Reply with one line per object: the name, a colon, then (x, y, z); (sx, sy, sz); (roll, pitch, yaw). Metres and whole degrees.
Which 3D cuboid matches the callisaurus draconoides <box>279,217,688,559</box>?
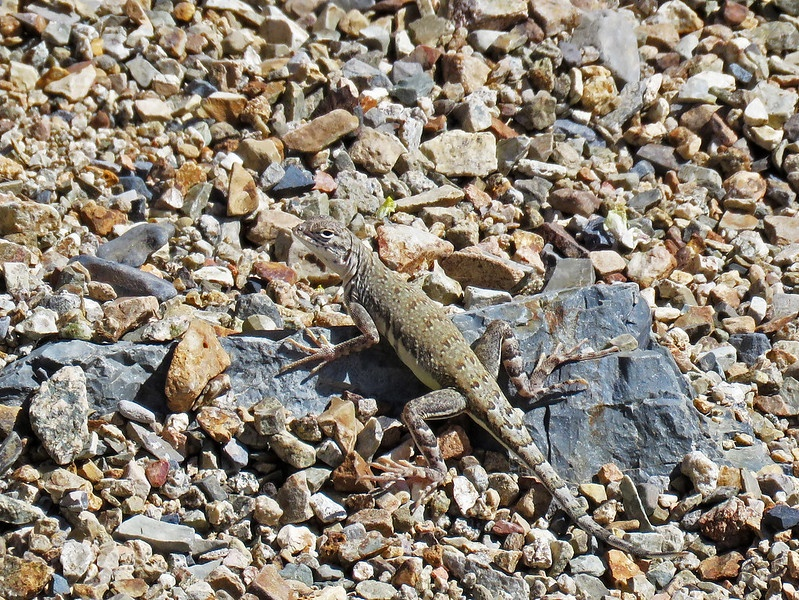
callisaurus draconoides: (0.454, 0.565, 7.979); (2.000, 0.763, 3.353); (-33, 62, -28)
